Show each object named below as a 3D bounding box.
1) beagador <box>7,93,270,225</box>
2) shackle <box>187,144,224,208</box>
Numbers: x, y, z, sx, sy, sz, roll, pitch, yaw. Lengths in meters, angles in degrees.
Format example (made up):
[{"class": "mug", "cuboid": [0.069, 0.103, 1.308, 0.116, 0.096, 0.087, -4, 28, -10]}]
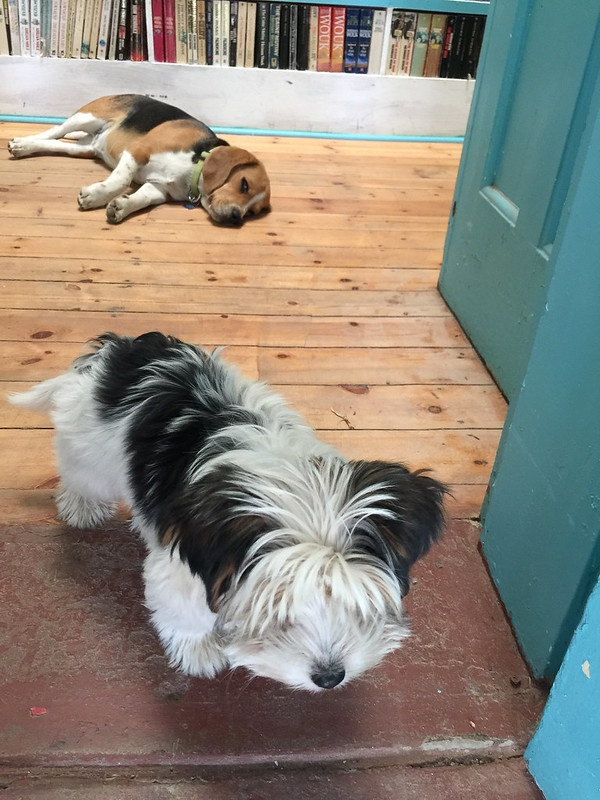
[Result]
[{"class": "beagador", "cuboid": [-0.894, -1.343, 3.704, 1.130, 0.422, 1.711, -11, 33, -27]}, {"class": "shackle", "cuboid": [-0.520, -1.175, 3.548, 0.090, 0.243, 0.349, -5, -4, -22]}]
